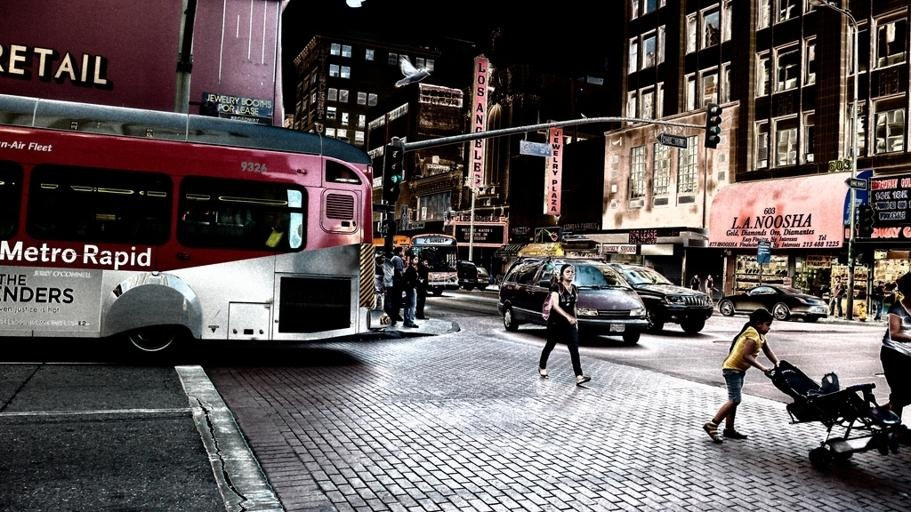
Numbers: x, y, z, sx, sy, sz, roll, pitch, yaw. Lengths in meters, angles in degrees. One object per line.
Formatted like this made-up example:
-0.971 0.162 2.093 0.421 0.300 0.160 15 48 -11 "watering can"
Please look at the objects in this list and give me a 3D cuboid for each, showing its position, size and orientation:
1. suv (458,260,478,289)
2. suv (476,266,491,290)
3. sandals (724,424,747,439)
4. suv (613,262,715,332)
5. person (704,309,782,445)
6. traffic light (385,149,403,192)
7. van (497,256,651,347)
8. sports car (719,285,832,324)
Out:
0.808 1.494 53.544 1.557 2.169 1.492 2 15 -1 "suv"
1.972 1.712 55.262 1.701 1.149 3.648 1 3 4 "suv"
5.771 3.694 15.319 0.640 0.271 0.211 3 6 0 "sandals"
7.030 1.494 28.771 2.651 2.387 5.633 -1 4 -34 "suv"
5.982 2.479 15.138 1.609 2.721 0.946 1 0 17 "person"
-2.013 -2.826 23.437 0.543 1.442 0.613 0 15 -6 "traffic light"
4.092 1.481 26.538 3.191 2.712 6.859 2 0 -18 "van"
14.646 2.152 34.279 2.261 1.349 4.814 1 -1 -36 "sports car"
